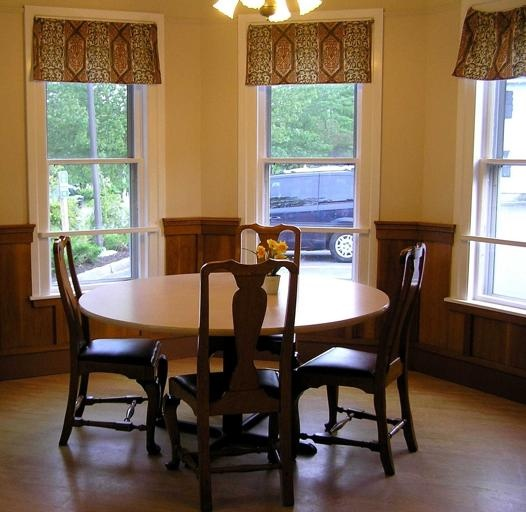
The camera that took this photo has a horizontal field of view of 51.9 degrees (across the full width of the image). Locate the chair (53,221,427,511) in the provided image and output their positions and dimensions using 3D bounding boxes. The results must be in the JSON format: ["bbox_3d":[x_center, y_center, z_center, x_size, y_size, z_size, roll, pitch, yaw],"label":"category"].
[{"bbox_3d":[0.115,0.421,2.424,1.078,0.854,1.222,-4,7,-22],"label":"chair"}]
